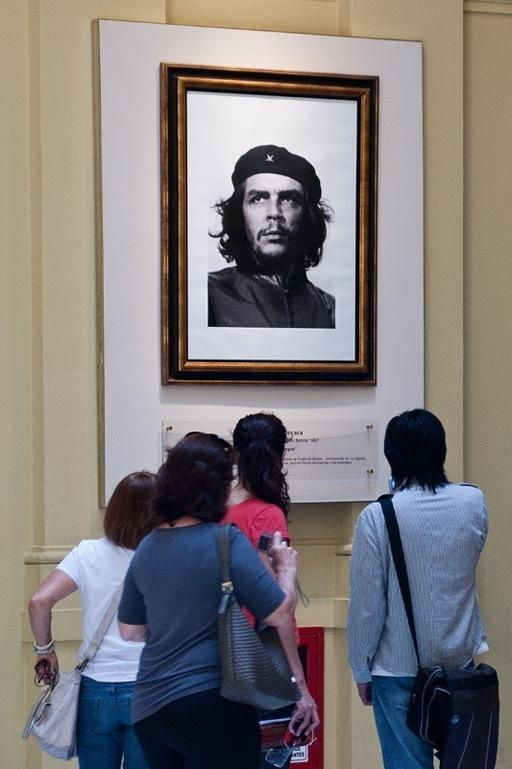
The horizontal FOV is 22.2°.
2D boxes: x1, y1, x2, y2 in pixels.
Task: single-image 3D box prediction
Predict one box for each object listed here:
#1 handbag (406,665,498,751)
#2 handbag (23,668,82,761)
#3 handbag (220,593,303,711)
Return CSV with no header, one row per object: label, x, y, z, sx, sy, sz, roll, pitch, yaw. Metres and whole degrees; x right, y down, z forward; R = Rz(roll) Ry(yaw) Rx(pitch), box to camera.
handbag,0.654,1.062,4.416,0.227,0.322,0.311,11,-13,-30
handbag,-0.712,1.169,4.580,0.199,0.313,0.163,-2,0,-12
handbag,0.007,0.828,4.015,0.105,0.300,0.291,-19,-38,20
